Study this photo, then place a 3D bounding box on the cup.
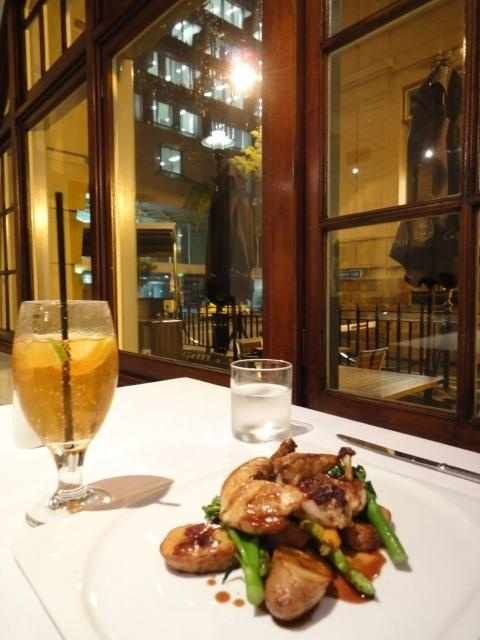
[{"bbox_3d":[0.029,0.101,0.703,0.092,0.109,0.096,0,5,0],"label":"cup"}]
